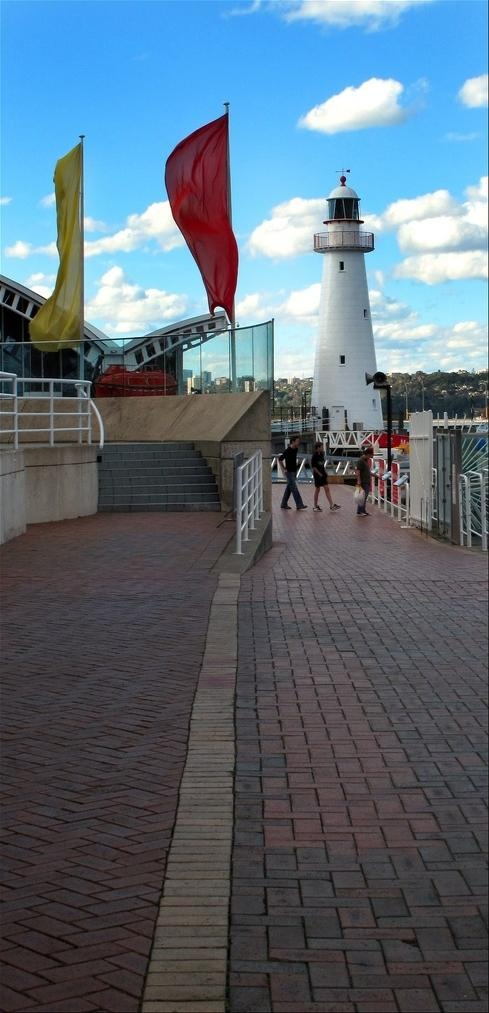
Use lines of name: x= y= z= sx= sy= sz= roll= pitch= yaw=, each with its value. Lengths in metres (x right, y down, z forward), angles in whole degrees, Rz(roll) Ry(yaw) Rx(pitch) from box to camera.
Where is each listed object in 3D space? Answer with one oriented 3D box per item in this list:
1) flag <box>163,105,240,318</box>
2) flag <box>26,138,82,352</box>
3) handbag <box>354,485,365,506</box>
flag: x=-1.387 y=-8.766 z=23.534 sx=1.839 sy=0.714 sz=7.738 roll=1 pitch=-36 yaw=1
flag: x=-6.253 y=-9.162 z=25.747 sx=1.615 sy=8.477 sz=0.794 roll=-5 pitch=-17 yaw=5
handbag: x=3.319 y=-0.276 z=21.842 sx=0.238 sy=0.635 sz=0.437 roll=1 pitch=2 yaw=13
